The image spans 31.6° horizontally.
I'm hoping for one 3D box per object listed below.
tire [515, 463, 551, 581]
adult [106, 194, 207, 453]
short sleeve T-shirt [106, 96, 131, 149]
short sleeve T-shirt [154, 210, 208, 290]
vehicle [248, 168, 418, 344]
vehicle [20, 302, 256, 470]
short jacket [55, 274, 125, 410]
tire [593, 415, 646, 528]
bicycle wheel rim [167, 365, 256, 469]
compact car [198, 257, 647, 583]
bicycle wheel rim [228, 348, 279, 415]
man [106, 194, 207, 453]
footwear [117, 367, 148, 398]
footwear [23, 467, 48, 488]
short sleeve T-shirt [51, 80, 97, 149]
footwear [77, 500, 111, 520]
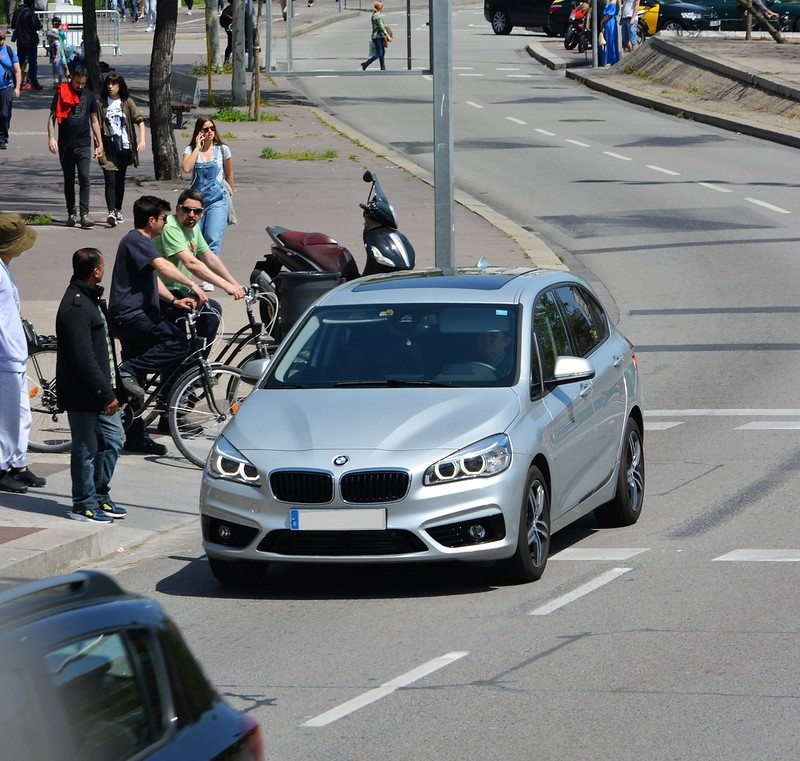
[{"bbox_3d":[0.697,0.757,7.391,0.110,0.606,0.527,1,9,18],"label":"tire"},{"bbox_3d":[-1.778,-0.350,10.469,0.916,2.472,0.948,-3,30,-12],"label":"adult"},{"bbox_3d":[-3.833,-3.464,19.185,0.317,0.621,0.192,0,0,-18],"label":"short sleeve T-shirt"},{"bbox_3d":[-1.711,-0.999,10.952,0.301,0.500,0.472,5,51,16],"label":"short sleeve T-shirt"},{"bbox_3d":[-0.649,-1.000,12.548,1.924,1.554,1.045,-1,10,21],"label":"vehicle"},{"bbox_3d":[-2.109,0.057,10.851,1.885,1.263,0.968,1,8,1],"label":"vehicle"},{"bbox_3d":[-1.885,-0.207,8.620,0.451,0.892,0.810,-1,11,-3],"label":"short jacket"},{"bbox_3d":[1.320,0.575,8.559,0.167,0.537,0.520,-17,9,30],"label":"tire"},{"bbox_3d":[-1.291,0.240,9.574,0.143,0.718,0.708,5,3,40],"label":"bicycle wheel rim"},{"bbox_3d":[0.322,0.193,8.121,1.418,1.135,2.530,-2,2,18],"label":"compact car"},{"bbox_3d":[-0.938,0.013,9.066,0.242,0.441,0.323,14,2,28],"label":"bicycle wheel rim"},{"bbox_3d":[-1.778,-0.350,10.469,0.916,2.472,0.948,-3,30,-12],"label":"man"},{"bbox_3d":[-1.900,0.017,10.012,0.073,0.088,0.206,-23,58,-25],"label":"footwear"},{"bbox_3d":[-2.417,0.658,9.421,0.217,0.114,0.082,8,16,23],"label":"footwear"},{"bbox_3d":[-4.326,-3.533,18.950,0.539,0.849,0.445,-4,9,-12],"label":"short sleeve T-shirt"},{"bbox_3d":[-1.849,0.793,8.554,0.227,0.112,0.092,3,3,11],"label":"footwear"}]
